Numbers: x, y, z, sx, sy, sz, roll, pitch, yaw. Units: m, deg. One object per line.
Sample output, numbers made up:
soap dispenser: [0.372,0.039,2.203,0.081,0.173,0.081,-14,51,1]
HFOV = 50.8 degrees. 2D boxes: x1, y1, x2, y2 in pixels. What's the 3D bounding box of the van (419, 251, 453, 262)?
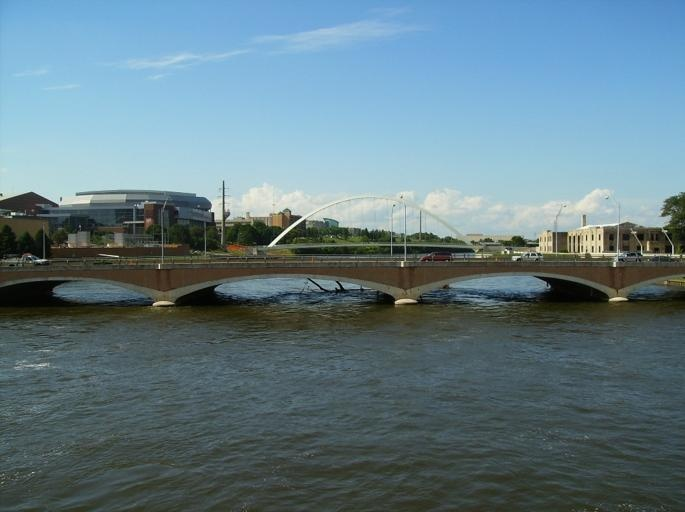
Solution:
van: [11.438,0.013,90.505,4.359,1.010,1.665,1,0,7]
